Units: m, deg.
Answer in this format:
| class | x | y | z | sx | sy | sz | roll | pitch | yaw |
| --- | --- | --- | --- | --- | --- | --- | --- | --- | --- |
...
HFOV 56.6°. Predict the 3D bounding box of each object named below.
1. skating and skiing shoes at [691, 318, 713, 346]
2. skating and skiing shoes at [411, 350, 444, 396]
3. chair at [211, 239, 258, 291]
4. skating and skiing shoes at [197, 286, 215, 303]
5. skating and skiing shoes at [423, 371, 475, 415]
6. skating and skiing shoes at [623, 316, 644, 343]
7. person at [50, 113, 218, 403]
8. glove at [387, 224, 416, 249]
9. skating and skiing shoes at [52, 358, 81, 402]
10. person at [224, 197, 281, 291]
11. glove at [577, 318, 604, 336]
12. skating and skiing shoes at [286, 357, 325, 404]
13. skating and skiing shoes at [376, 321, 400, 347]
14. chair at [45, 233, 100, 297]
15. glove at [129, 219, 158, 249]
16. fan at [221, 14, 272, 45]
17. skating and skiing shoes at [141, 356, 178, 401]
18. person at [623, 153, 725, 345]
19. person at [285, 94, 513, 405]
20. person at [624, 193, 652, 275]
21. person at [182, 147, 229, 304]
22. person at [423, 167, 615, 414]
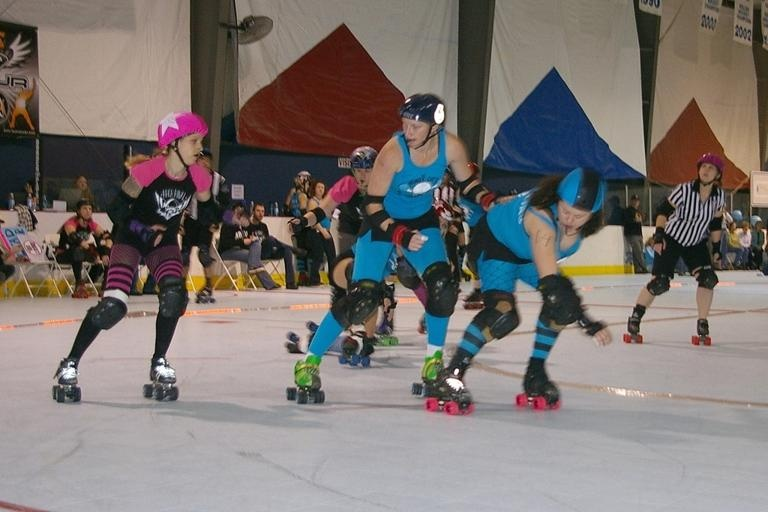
| class | x | y | z | sx | sy | sz | roll | pitch | yaw |
| --- | --- | --- | --- | --- | --- | --- | --- | --- | --- |
| skating and skiing shoes | 3.124 | 0.736 | 7.002 | 0.186 | 0.267 | 0.311 | 4 | 1 | 24 |
| skating and skiing shoes | 0.322 | 0.809 | 4.974 | 0.162 | 0.258 | 0.083 | -13 | -40 | 35 |
| chair | -2.727 | 0.166 | 13.044 | 0.870 | 1.342 | 0.790 | -1 | 1 | 19 |
| skating and skiing shoes | -2.754 | 0.598 | 10.952 | 0.139 | 0.198 | 0.409 | 0 | 2 | -2 |
| skating and skiing shoes | 0.411 | 0.861 | 4.575 | 0.314 | 0.247 | 0.156 | 4 | 1 | 29 |
| skating and skiing shoes | 2.567 | 0.761 | 7.338 | 0.204 | 0.324 | 0.126 | 2 | 3 | 17 |
| person | -1.708 | 0.006 | 4.846 | 0.964 | 2.054 | 0.782 | 6 | 7 | -23 |
| glove | 0.099 | -0.139 | 4.620 | 0.151 | 0.079 | 0.165 | 27 | 1 | 37 |
| skating and skiing shoes | -2.102 | 0.830 | 4.691 | 0.118 | 0.293 | 0.376 | 1 | -6 | -18 |
| person | -2.462 | -0.146 | 12.670 | 1.077 | 1.668 | 0.625 | -9 | -15 | 27 |
| glove | 1.287 | 0.439 | 4.427 | 0.116 | 0.046 | 0.112 | 29 | -3 | -39 |
| skating and skiing shoes | -0.518 | 0.822 | 4.708 | 0.136 | 0.303 | 0.448 | 2 | -6 | -7 |
| skating and skiing shoes | 0.007 | 0.781 | 7.105 | 0.113 | 0.276 | 0.361 | 1 | -8 | -10 |
| chair | -4.846 | 0.085 | 11.339 | 0.799 | 1.135 | 0.619 | 10 | -7 | -44 |
| glove | -1.630 | -0.150 | 4.858 | 0.215 | 0.129 | 0.080 | 41 | -4 | 7 |
| fan | -2.779 | -4.679 | 14.686 | 1.129 | 0.425 | 0.415 | -18 | 17 | -37 |
| skating and skiing shoes | -1.508 | 0.841 | 4.786 | 0.132 | 0.237 | 0.467 | 2 | -4 | -14 |
| person | 3.061 | -0.082 | 7.359 | 1.077 | 2.015 | 0.952 | 3 | 1 | 2 |
| person | 0.114 | -0.042 | 4.945 | 1.366 | 2.252 | 0.922 | 3 | 16 | 2 |
| person | 6.575 | -0.635 | 18.686 | 0.526 | 1.998 | 0.688 | -6 | 1 | 20 |
| person | -2.726 | -0.441 | 10.967 | 0.811 | 2.670 | 0.893 | -5 | 16 | -26 |
| person | 0.941 | 0.221 | 4.681 | 1.083 | 1.842 | 1.138 | -7 | 27 | -29 |
